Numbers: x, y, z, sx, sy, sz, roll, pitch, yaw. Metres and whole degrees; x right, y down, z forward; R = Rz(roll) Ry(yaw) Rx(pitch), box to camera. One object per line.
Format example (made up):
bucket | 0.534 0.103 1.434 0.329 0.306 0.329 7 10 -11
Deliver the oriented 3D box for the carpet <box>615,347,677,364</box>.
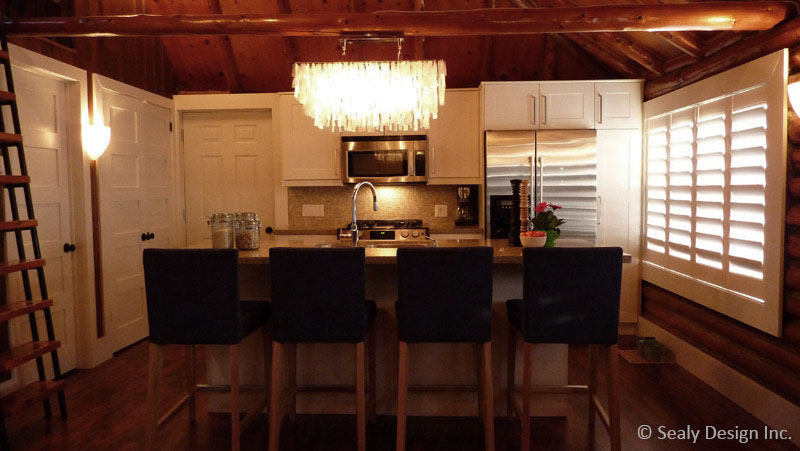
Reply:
carpet | 2.775 1.470 6.455 0.461 0.021 0.503 -1 3 5

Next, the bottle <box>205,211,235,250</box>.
bottle | -1.813 0.048 5.591 0.347 0.379 0.335 1 -1 -32

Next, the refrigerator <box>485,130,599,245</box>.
refrigerator | 1.741 -0.492 6.818 1.495 1.647 0.652 0 -2 3

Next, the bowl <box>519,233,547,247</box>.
bowl | 1.272 0.131 5.535 0.165 0.089 0.159 -1 2 0

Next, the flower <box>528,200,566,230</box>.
flower | 1.485 -0.066 5.712 0.365 0.345 0.344 2 -3 3

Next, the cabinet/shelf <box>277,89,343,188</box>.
cabinet/shelf | -1.134 -1.151 7.943 1.252 1.607 1.056 -1 2 -3

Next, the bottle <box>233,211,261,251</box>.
bottle | -1.492 0.070 5.804 0.344 0.309 0.327 0 -1 -8

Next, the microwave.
microwave | -0.178 -0.856 7.477 1.107 0.634 0.640 0 2 1
